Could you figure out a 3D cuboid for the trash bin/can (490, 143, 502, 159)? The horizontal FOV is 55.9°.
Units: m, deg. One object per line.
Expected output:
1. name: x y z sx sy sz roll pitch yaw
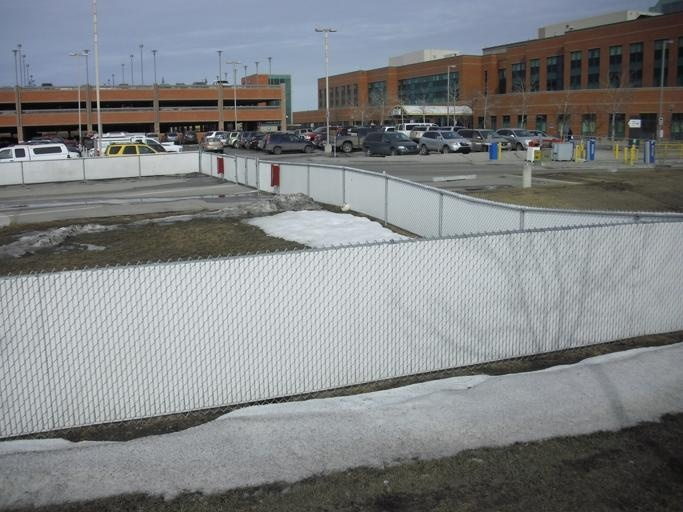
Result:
1. trash bin/can: 9.881 -6.741 41.116 0.636 1.035 0.757 -1 15 3
